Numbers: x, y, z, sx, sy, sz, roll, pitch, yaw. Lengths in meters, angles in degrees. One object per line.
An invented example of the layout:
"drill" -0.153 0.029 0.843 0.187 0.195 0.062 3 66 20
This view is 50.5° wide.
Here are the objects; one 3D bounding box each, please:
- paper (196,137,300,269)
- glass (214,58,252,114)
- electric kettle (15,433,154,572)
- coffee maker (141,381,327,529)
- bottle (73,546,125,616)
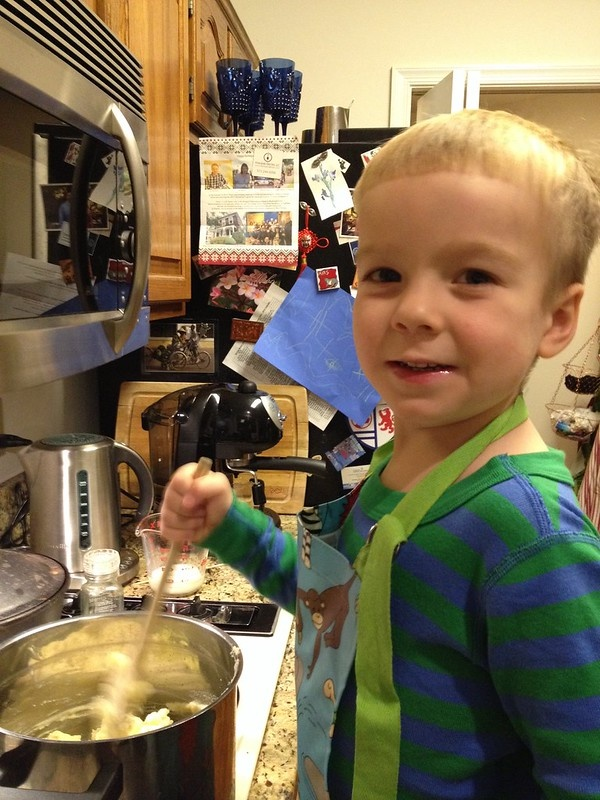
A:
"paper" -0.129 -0.497 1.577 0.352 0.394 0.020 1 6 -4
"glass" -0.172 -0.799 1.621 0.114 0.156 0.105 3 39 -4
"electric kettle" -0.366 0.132 1.146 0.267 0.269 0.226 -3 5 -33
"coffee maker" -0.145 0.128 1.384 0.423 0.329 0.167 4 9 9
"bottle" -0.292 0.269 0.935 0.058 0.081 0.119 0 7 -17
